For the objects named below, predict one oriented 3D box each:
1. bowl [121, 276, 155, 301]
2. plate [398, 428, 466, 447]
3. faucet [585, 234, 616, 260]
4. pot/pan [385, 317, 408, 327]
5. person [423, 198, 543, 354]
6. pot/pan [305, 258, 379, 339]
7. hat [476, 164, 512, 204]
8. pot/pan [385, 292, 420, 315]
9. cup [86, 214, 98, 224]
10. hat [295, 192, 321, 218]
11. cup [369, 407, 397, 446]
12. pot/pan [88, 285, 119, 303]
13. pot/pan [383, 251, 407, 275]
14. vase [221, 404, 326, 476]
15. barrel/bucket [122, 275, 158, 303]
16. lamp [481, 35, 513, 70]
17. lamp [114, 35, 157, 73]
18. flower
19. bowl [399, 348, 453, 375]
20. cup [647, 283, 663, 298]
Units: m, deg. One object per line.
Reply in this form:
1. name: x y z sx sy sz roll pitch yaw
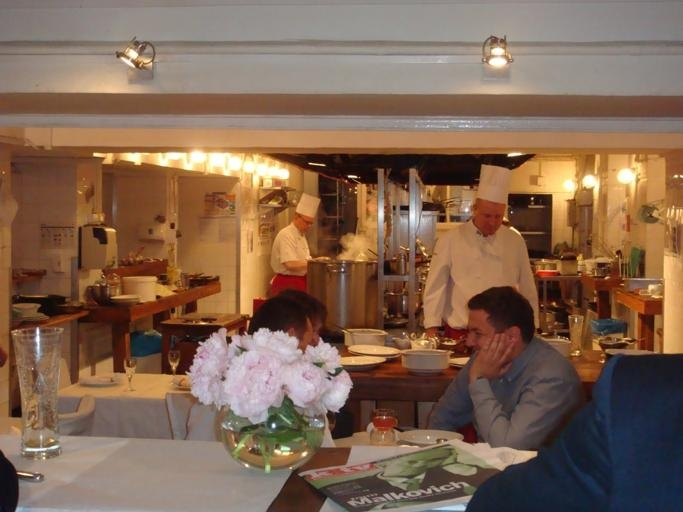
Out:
1. bowl: -1.836 0.277 5.927 0.237 0.169 0.238 1 3 0
2. plate: 0.310 0.642 2.339 0.147 0.032 0.143 2 0 -4
3. faucet: 3.733 -0.129 9.481 0.387 0.292 0.549 11 3 5
4. pot/pan: 0.471 0.583 5.762 0.198 0.071 0.260 3 1 2
5. person: 0.978 0.390 4.690 0.877 1.703 0.429 -2 4 -9
6. pot/pan: 0.052 0.361 5.546 0.607 0.598 0.640 1 -3 -2
7. hat: 1.086 -0.482 4.622 0.272 0.272 0.262 6 -7 20
8. pot/pan: 0.557 0.423 6.004 0.287 0.192 0.212 0 2 -5
9. cup: -2.284 -0.341 6.005 0.091 0.064 0.082 0 1 -5
10. hat: -0.384 -0.558 7.291 0.232 0.199 0.337 3 1 -5
11. cup: 0.148 0.611 2.348 0.107 0.112 0.105 2 -2 0
12. pot/pan: -2.072 0.323 5.627 0.233 0.154 0.169 0 6 -6
13. pot/pan: 0.500 0.070 5.840 0.230 0.209 0.134 1 2 11
14. vase: -0.169 0.460 1.734 0.220 0.128 0.211 2 0 -16
15. barrel/bucket: -1.818 0.295 5.913 0.246 0.173 0.238 1 3 0
16. lamp: 0.537 -0.714 2.266 0.095 0.092 0.089 2 2 18
17. lamp: -0.744 -0.727 2.338 0.142 0.112 0.128 3 1 -6
18. flower: -0.183 0.317 1.731 0.428 0.166 0.196 2 1 -13
19. bowl: 0.417 0.496 3.145 0.140 0.054 0.141 0 4 0
20. cup: 2.972 0.309 6.182 0.151 0.144 0.154 2 0 0
